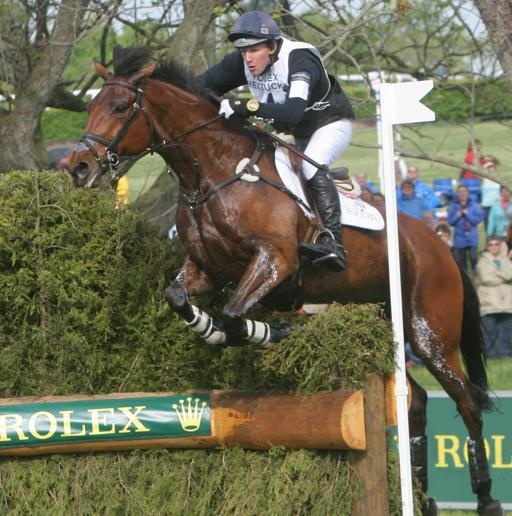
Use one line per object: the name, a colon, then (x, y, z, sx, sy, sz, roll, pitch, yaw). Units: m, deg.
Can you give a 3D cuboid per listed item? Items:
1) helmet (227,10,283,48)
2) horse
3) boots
helmet: (0.007, -1.317, 5.364, 0.290, 0.128, 0.207, -5, 0, -44)
horse: (0.250, 0.202, 5.637, 2.808, 2.774, 0.984, 3, 4, -12)
boots: (0.413, -0.228, 5.425, 0.274, 0.598, 0.323, 5, 3, 4)
